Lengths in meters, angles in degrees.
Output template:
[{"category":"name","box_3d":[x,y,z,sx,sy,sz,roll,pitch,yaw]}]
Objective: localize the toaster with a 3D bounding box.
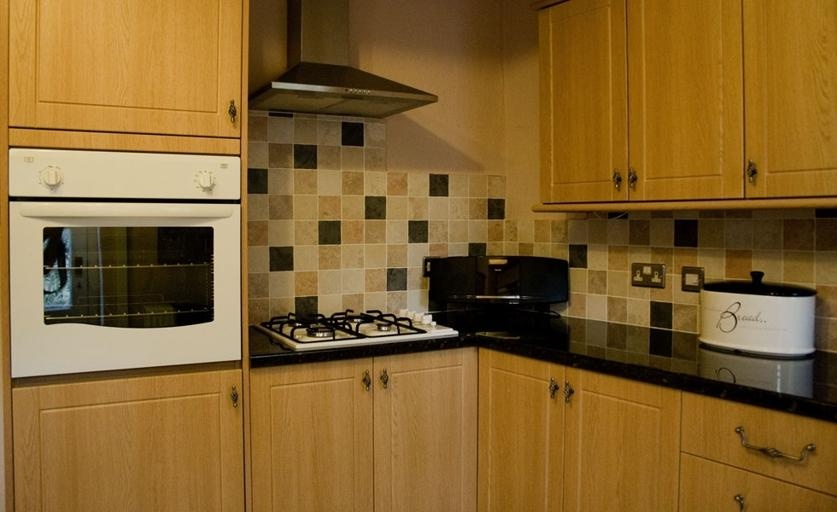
[{"category":"toaster","box_3d":[1.583,0.275,3.555,0.491,0.388,0.177,-1,1,25]}]

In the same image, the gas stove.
[{"category":"gas stove","box_3d":[-0.340,0.381,4.056,0.988,0.122,0.606,-2,2,-20]}]
